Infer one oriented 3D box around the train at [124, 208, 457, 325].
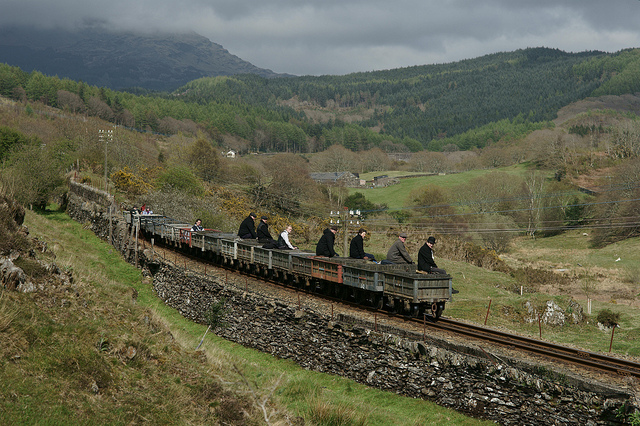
[{"bbox_3d":[-4.761,6.671,90.410,6.362,4.604,37.877,2,8,-44],"label":"train"}]
